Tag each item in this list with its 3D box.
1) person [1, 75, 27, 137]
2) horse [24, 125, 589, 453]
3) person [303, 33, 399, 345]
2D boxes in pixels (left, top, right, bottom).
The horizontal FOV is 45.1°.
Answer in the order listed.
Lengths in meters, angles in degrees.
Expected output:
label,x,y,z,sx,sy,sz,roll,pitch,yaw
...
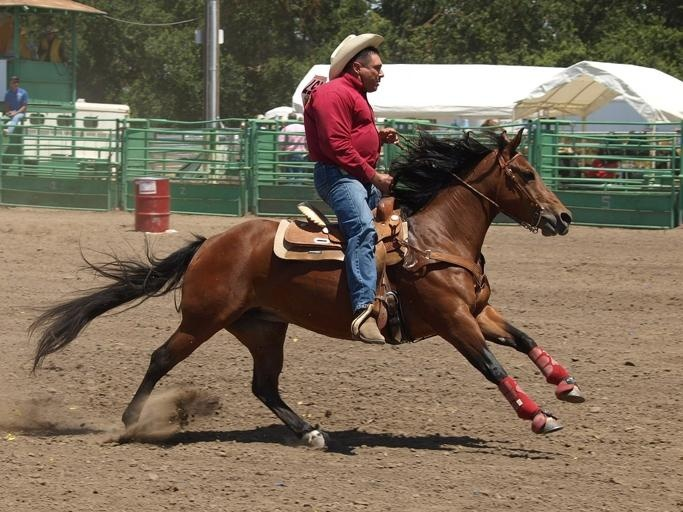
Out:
label,x,y,z,sx,sy,sz,roll,pitch,yaw
person,-7.348,-3.406,18.607,0.531,1.355,1.490,-1,9,-21
horse,-0.228,0.257,6.950,5.855,2.104,1.118,-5,8,39
person,0.064,-0.484,5.841,0.681,2.236,0.891,2,11,-8
